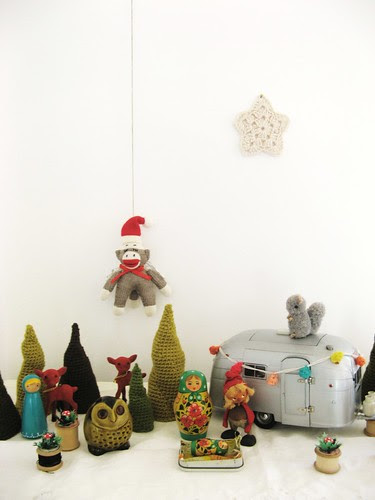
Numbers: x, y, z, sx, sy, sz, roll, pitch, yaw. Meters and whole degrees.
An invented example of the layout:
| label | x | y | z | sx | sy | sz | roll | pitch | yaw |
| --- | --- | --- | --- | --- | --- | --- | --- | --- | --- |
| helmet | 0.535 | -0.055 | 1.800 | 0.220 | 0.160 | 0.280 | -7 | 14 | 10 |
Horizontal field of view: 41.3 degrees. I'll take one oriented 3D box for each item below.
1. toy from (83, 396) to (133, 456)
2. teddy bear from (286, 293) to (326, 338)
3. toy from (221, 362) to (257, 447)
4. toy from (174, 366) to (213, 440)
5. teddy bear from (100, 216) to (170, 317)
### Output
| label | x | y | z | sx | sy | sz | roll | pitch | yaw |
| --- | --- | --- | --- | --- | --- | --- | --- | --- | --- |
| toy | -0.239 | 0.525 | 1.492 | 0.142 | 0.172 | 0.090 | -5 | 13 | -17 |
| teddy bear | 0.389 | 0.214 | 1.666 | 0.170 | 0.129 | 0.092 | -7 | 13 | -25 |
| toy | 0.163 | 0.491 | 1.584 | 0.107 | 0.247 | 0.180 | 0 | 12 | 6 |
| toy | 0.014 | 0.489 | 1.572 | 0.116 | 0.213 | 0.120 | -2 | 12 | -2 |
| teddy bear | -0.225 | 0.063 | 2.124 | 0.275 | 0.426 | 0.163 | -3 | 13 | -6 |
